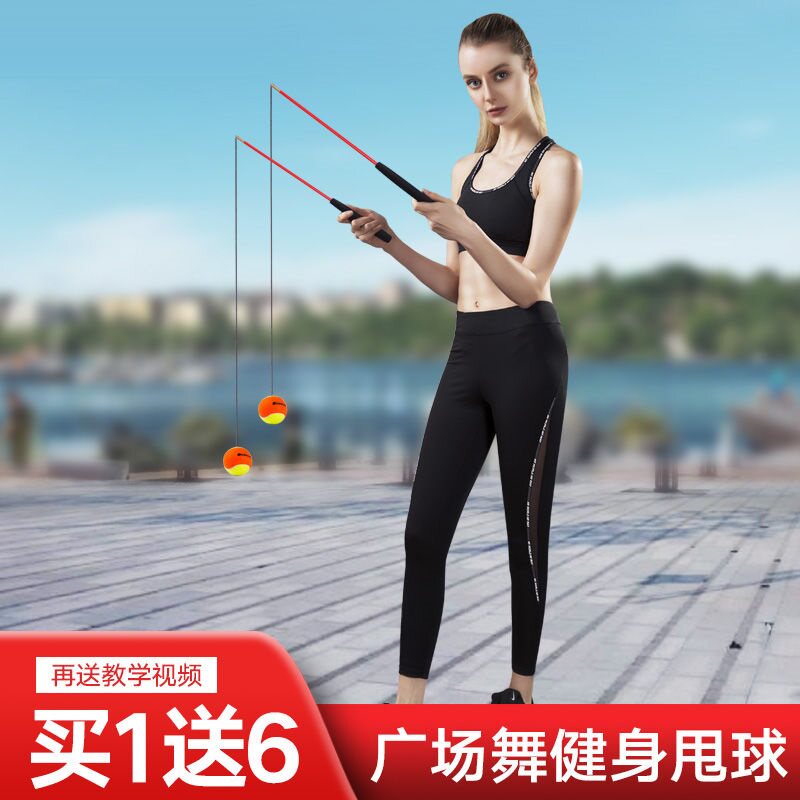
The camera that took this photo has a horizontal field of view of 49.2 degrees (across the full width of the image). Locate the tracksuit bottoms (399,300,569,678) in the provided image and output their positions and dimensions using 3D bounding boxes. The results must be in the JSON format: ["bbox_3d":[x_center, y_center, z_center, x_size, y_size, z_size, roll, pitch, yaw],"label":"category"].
[{"bbox_3d":[0.177,0.189,1.818,0.319,0.782,0.232,2,7,8],"label":"tracksuit bottoms"}]

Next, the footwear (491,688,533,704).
[{"bbox_3d":[0.227,0.623,1.830,0.112,0.032,0.032,-1,0,1],"label":"footwear"}]
